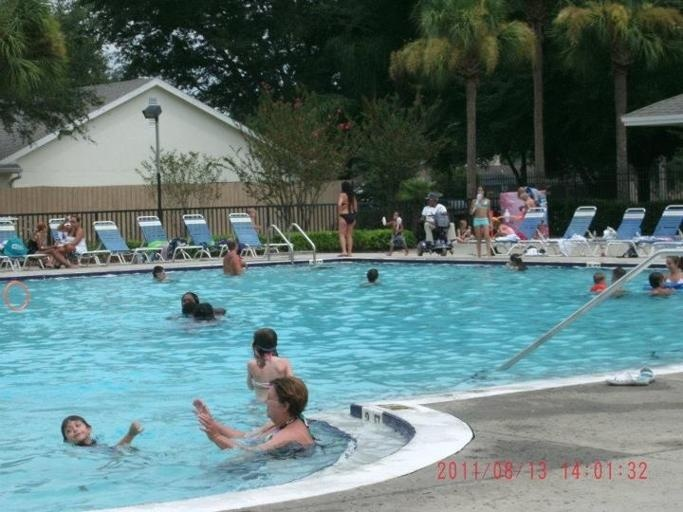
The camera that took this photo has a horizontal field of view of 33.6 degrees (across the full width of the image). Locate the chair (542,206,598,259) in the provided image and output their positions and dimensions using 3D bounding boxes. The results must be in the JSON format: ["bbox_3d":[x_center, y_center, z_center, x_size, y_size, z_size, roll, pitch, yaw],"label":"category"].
[{"bbox_3d":[6.174,-0.589,29.917,0.589,1.226,1.860,11,-13,0],"label":"chair"}]

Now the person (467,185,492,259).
[{"bbox_3d":[3.590,-0.860,28.703,0.650,1.803,0.566,0,2,17],"label":"person"}]

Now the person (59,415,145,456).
[{"bbox_3d":[-3.474,2.523,15.979,0.786,0.286,0.624,2,6,21],"label":"person"}]

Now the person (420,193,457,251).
[{"bbox_3d":[2.636,-0.907,31.091,1.024,1.713,1.542,-2,0,-19],"label":"person"}]

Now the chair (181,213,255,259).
[{"bbox_3d":[-3.674,-0.572,30.608,0.711,1.236,1.886,-7,5,-26],"label":"chair"}]

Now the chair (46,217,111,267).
[{"bbox_3d":[-6.950,-0.367,29.168,2.019,1.339,0.716,-1,13,-36],"label":"chair"}]

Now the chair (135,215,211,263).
[{"bbox_3d":[-4.492,-0.503,30.864,1.197,1.154,2.125,-4,3,-38],"label":"chair"}]

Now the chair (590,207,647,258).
[{"bbox_3d":[7.086,-0.623,28.605,1.492,0.911,0.875,-19,17,-39],"label":"chair"}]

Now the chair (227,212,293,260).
[{"bbox_3d":[-2.374,-0.445,31.536,0.992,1.065,1.694,2,-7,31],"label":"chair"}]

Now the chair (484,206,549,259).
[{"bbox_3d":[4.777,-0.672,30.290,1.560,1.152,0.846,-4,10,15],"label":"chair"}]

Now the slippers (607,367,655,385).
[{"bbox_3d":[4.250,1.781,16.432,0.847,0.167,0.462,-6,4,-20],"label":"slippers"}]
